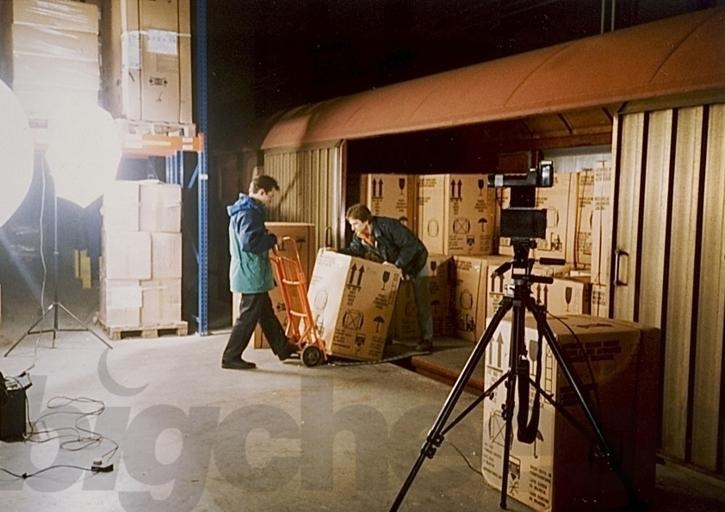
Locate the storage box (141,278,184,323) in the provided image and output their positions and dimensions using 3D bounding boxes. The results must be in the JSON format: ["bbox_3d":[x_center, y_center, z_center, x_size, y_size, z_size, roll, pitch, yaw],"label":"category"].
[{"bbox_3d":[-3.145,0.675,10.205,0.630,0.643,0.624,0,4,-8],"label":"storage box"}]

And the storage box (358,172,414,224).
[{"bbox_3d":[0.377,-0.901,9.804,0.781,0.833,0.258,0,9,-16],"label":"storage box"}]

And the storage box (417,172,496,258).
[{"bbox_3d":[1.514,-0.728,10.378,1.178,1.318,1.229,-1,10,-7],"label":"storage box"}]

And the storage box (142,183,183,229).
[{"bbox_3d":[-3.096,-0.759,10.021,0.626,0.658,0.640,6,39,-8],"label":"storage box"}]

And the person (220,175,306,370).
[{"bbox_3d":[-1.406,0.211,8.464,0.965,2.531,0.715,-1,12,-5],"label":"person"}]

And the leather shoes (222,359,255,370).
[{"bbox_3d":[-1.614,1.382,8.446,0.467,0.204,0.164,-1,2,-12],"label":"leather shoes"}]

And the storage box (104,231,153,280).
[{"bbox_3d":[-3.655,-0.022,10.019,0.664,0.721,0.714,0,1,-24],"label":"storage box"}]

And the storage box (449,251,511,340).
[{"bbox_3d":[1.545,0.650,10.002,1.036,1.162,1.069,0,-2,-8],"label":"storage box"}]

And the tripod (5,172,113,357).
[{"bbox_3d":[-4.644,0.177,9.655,1.398,2.302,1.728,-5,13,-23],"label":"tripod"}]

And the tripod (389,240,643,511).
[{"bbox_3d":[1.334,1.020,5.245,1.823,2.335,0.819,2,12,7],"label":"tripod"}]

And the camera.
[{"bbox_3d":[1.338,-0.438,5.331,0.484,0.612,0.331,1,-1,25],"label":"camera"}]

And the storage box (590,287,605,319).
[{"bbox_3d":[2.714,0.527,7.330,0.136,0.295,0.295,-2,7,-7],"label":"storage box"}]

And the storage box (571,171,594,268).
[{"bbox_3d":[2.941,-0.465,8.510,0.245,0.966,1.017,4,2,26],"label":"storage box"}]

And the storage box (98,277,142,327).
[{"bbox_3d":[-3.826,0.604,10.084,0.581,0.858,1.068,-3,7,-23],"label":"storage box"}]

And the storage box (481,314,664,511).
[{"bbox_3d":[1.804,1.449,6.284,1.457,2.215,1.593,3,-3,-7],"label":"storage box"}]

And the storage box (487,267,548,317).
[{"bbox_3d":[1.578,0.344,6.357,0.435,0.656,0.649,1,4,-17],"label":"storage box"}]

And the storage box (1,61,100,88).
[{"bbox_3d":[-4.441,-2.658,9.304,1.133,0.417,0.122,-6,13,-26],"label":"storage box"}]
